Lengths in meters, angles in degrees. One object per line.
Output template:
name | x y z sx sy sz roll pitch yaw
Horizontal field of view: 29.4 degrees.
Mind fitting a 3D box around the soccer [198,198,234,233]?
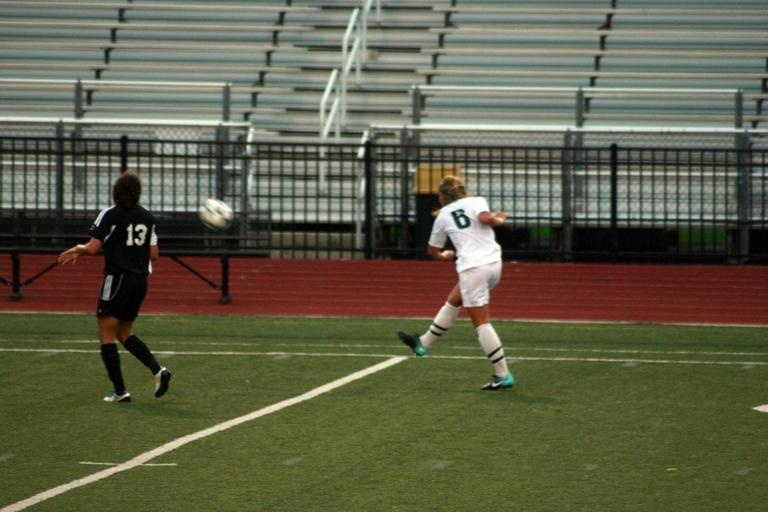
soccer | -3.345 -0.844 29.628 0.639 0.629 0.380 2 0 -5

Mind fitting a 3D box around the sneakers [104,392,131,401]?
sneakers | -4.001 2.168 22.306 0.422 0.133 0.141 2 14 0

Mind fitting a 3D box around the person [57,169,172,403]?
person | -3.928 0.470 22.292 1.452 3.532 0.655 2 0 -10
